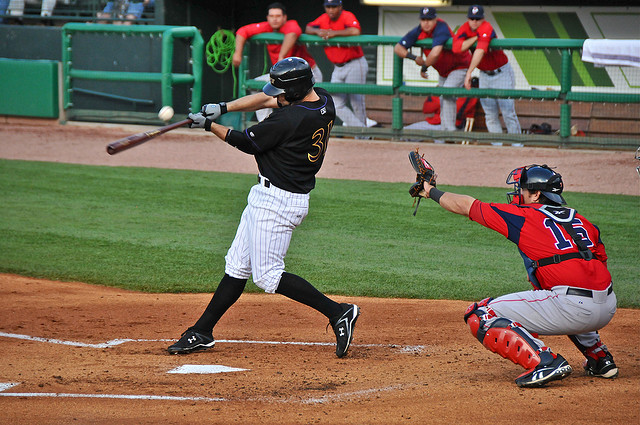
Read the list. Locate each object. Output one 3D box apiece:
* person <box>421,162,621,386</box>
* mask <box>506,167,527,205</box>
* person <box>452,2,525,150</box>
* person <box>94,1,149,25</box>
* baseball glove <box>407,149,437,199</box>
[{"bbox_3d":[1.971,0.584,8.987,1.493,2.010,0.638,6,10,13],"label":"person"},{"bbox_3d":[1.880,-0.253,9.324,0.171,0.400,0.594,6,9,10],"label":"mask"},{"bbox_3d":[2.580,-1.984,14.418,1.204,2.079,0.675,-3,12,-36],"label":"person"},{"bbox_3d":[-3.628,-3.707,17.817,0.936,0.477,0.887,1,8,-10],"label":"person"},{"bbox_3d":[0.961,-0.370,9.466,0.214,0.505,0.302,-42,-5,2],"label":"baseball glove"}]
